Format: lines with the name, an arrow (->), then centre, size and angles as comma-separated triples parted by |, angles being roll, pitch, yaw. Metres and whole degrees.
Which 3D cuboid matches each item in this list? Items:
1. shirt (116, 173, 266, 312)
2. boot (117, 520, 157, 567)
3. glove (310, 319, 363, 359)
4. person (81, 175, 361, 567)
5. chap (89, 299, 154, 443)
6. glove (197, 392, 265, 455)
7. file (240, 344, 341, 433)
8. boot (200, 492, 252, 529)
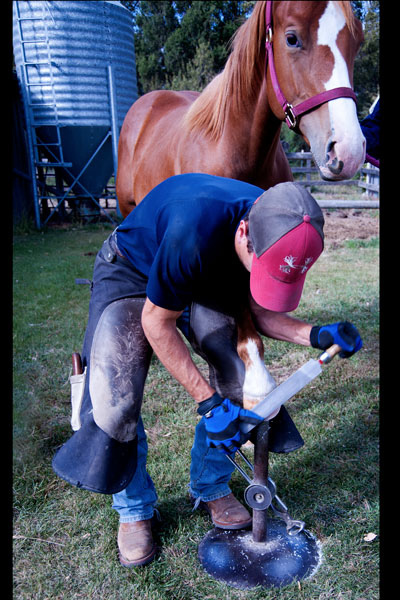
shirt -> -0.066, -0.245, 1.881 | 0.364, 0.486, 0.671 | 39, 33, 0
boot -> -0.246, 0.961, 1.975 | 0.155, 0.121, 0.157 | -4, 10, -13
glove -> 0.474, 0.131, 1.785 | 0.093, 0.103, 0.192 | -40, 9, -10
person -> -0.003, 0.270, 1.947 | 0.843, 1.478, 1.049 | -8, 11, -30
chap -> -0.301, 0.285, 1.944 | 0.167, 0.480, 0.276 | 8, -21, -34
glove -> 0.083, 0.432, 1.781 | 0.174, 0.121, 0.230 | -20, 59, -46
file -> 0.300, 0.287, 1.653 | 0.270, 0.245, 0.437 | 14, 26, 33
boot -> 0.100, 0.907, 2.176 | 0.128, 0.101, 0.252 | -8, 11, -33
